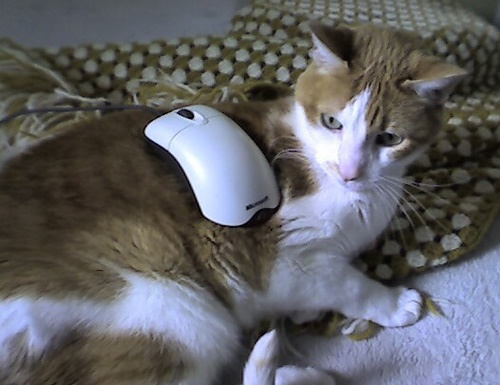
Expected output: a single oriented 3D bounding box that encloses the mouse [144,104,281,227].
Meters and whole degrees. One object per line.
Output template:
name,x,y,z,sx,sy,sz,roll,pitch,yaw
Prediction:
mouse,-0.067,-0.066,1.148,0.150,0.091,0.281,-24,67,-31
